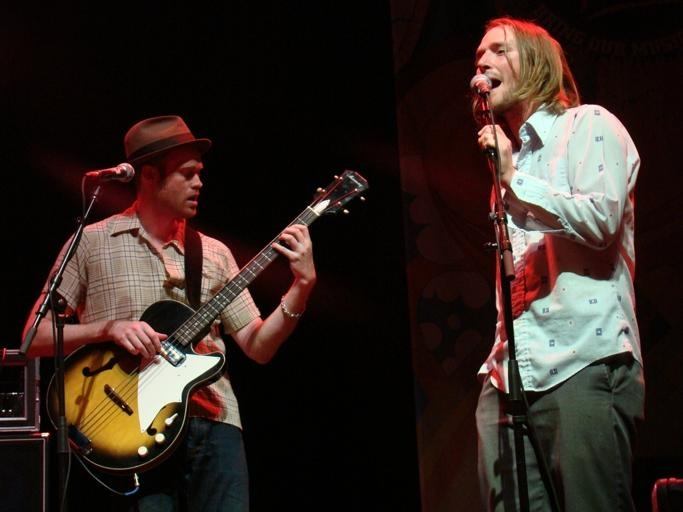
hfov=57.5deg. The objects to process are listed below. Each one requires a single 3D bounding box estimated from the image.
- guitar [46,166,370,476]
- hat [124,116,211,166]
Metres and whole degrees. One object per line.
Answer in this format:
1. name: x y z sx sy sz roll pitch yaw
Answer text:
1. guitar: -0.561 0.251 3.033 0.621 1.796 0.213 41 -25 5
2. hat: -0.880 -0.529 3.098 0.312 0.130 0.282 -25 2 4
